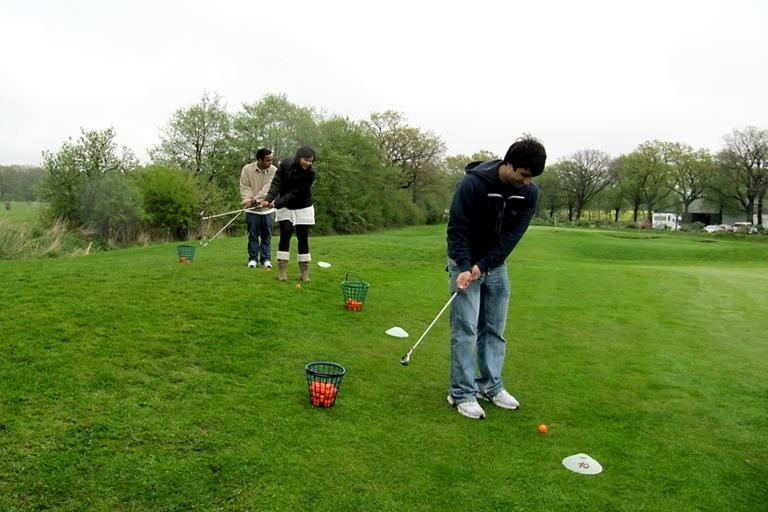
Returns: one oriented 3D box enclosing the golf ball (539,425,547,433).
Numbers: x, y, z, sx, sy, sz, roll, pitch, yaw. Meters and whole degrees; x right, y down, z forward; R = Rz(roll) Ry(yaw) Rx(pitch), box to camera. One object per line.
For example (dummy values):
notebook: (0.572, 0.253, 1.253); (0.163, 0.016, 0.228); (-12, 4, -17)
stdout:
golf ball: (1.805, 1.963, 6.189); (0.090, 0.073, 0.077); (-1, -10, -8)

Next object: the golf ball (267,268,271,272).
golf ball: (-2.280, 0.275, 10.734); (0.068, 0.041, 0.068); (-5, 3, 0)

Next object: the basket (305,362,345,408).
basket: (-0.723, 1.511, 6.509); (0.521, 0.391, 0.520); (3, 0, 42)

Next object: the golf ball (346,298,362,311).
golf ball: (-0.507, 0.825, 9.247); (0.231, 0.129, 0.230); (0, -1, 0)

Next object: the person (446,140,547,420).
person: (1.264, 0.238, 6.521); (1.011, 3.246, 0.874); (-1, 11, -6)

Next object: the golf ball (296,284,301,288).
golf ball: (-1.550, 0.544, 9.847); (0.058, 0.051, 0.056); (5, 40, -4)

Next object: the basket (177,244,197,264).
basket: (-3.961, -0.046, 11.129); (0.476, 0.362, 0.466); (3, -4, -27)

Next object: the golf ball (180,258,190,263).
golf ball: (-3.996, 0.098, 10.863); (0.118, 0.121, 0.124); (-3, -23, -1)

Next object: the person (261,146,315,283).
person: (-1.709, -0.727, 9.886); (0.889, 2.490, 0.823); (-2, 11, -11)
